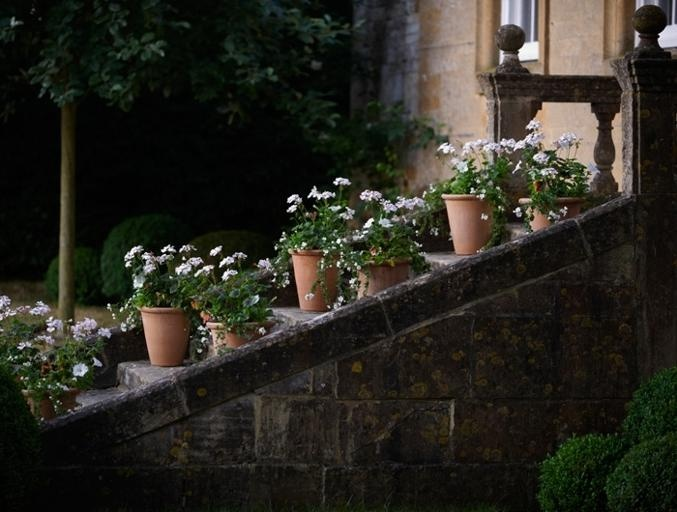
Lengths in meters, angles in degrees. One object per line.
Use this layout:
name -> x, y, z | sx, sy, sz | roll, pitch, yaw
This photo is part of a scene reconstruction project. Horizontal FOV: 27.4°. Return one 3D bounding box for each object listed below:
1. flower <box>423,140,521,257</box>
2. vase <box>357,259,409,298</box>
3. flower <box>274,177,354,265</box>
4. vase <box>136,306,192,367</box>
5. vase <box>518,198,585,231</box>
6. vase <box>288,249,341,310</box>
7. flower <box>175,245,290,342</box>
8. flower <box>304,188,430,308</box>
flower -> 1.159, -0.422, 11.430 | 0.638, 0.876, 0.518 | 5, 2, -41
vase -> 0.341, 0.168, 10.720 | 0.302, 0.241, 0.312 | 0, -3, -12
flower -> -0.185, -0.132, 11.054 | 0.420, 0.731, 0.563 | 0, -10, 12
vase -> -1.360, 0.634, 10.788 | 0.402, 0.426, 0.440 | 0, -2, -3
vase -> 1.694, -0.341, 11.080 | 0.533, 0.246, 0.476 | -2, 6, 15
vase -> -0.194, 0.203, 10.891 | 0.397, 0.418, 0.434 | -1, -2, 0
flower -> -0.779, 0.326, 10.979 | 0.702, 0.892, 0.718 | -4, 1, 37
flower -> 0.287, -0.143, 11.067 | 0.856, 1.155, 0.851 | -6, -4, 25
